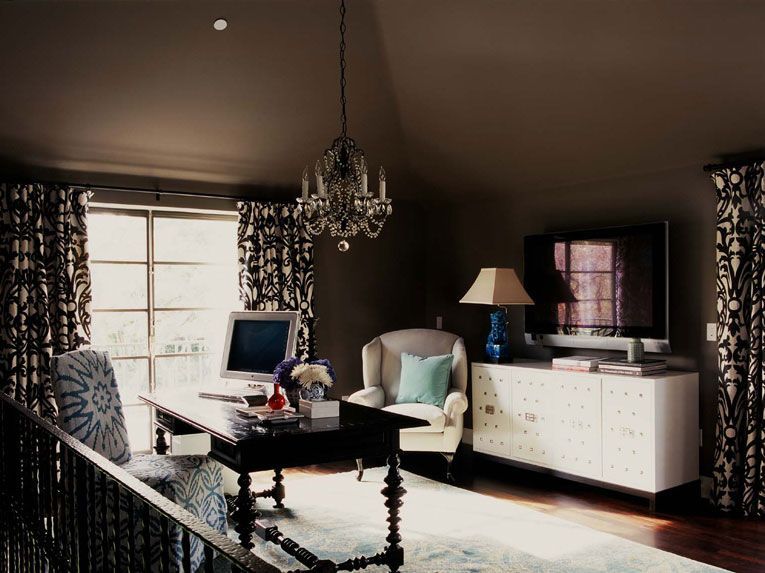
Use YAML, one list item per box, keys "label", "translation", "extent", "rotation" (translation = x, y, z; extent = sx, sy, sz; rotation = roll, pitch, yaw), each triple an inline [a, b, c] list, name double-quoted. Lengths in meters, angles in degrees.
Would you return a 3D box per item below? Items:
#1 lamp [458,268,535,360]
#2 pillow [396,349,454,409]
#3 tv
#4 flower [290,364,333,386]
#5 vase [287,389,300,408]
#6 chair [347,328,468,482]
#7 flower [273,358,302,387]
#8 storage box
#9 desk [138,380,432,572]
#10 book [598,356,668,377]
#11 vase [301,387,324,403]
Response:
- label: "lamp"
  translation: [1.149, 0.256, 5.734]
  extent: [0.657, 0.886, 0.505]
  rotation: [0, 1, -39]
- label: "pillow"
  translation: [0.400, 0.829, 5.602]
  extent: [0.704, 0.681, 0.365]
  rotation: [-2, -12, 22]
- label: "tv"
  translation: [-0.876, 0.440, 4.311]
  extent: [0.787, 0.813, 0.533]
  rotation: [-3, -11, 34]
- label: "flower"
  translation: [-0.430, 0.487, 3.558]
  extent: [0.152, 0.103, 0.155]
  rotation: [5, -1, -31]
- label: "vase"
  translation: [-0.530, 0.664, 3.643]
  extent: [0.082, 0.111, 0.109]
  rotation: [1, -12, -4]
- label: "chair"
  translation: [0.097, 1.021, 5.561]
  extent: [1.125, 1.466, 1.184]
  rotation: [-1, -8, 11]
- label: "flower"
  translation: [-0.582, 0.521, 3.683]
  extent: [0.142, 0.171, 0.161]
  rotation: [1, -3, -5]
- label: "storage box"
  translation: [1.622, 1.138, 5.066]
  extent: [1.715, 0.921, 0.458]
  rotation: [0, 1, 36]
- label: "desk"
  translation: [-0.586, 1.196, 3.732]
  extent: [1.151, 1.043, 1.597]
  rotation: [0, 1, -43]
- label: "book"
  translation: [1.966, 0.631, 4.792]
  extent: [0.494, 0.117, 0.307]
  rotation: [0, 0, 29]
- label: "vase"
  translation: [-0.407, 0.631, 3.563]
  extent: [0.077, 0.098, 0.101]
  rotation: [0, 8, -18]
